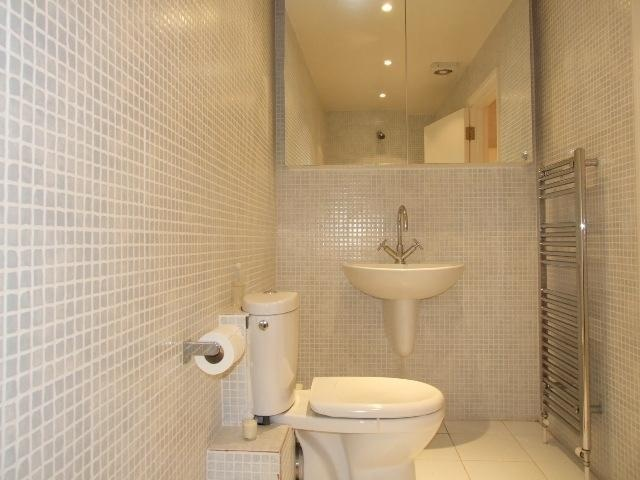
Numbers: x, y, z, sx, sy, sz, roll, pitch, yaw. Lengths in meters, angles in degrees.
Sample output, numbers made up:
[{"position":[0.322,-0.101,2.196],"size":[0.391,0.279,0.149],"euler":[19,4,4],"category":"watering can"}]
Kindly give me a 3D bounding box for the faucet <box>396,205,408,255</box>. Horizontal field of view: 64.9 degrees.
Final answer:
[{"position":[0.489,-0.067,3.003],"size":[0.076,0.240,0.086],"euler":[-3,-2,15],"category":"faucet"}]

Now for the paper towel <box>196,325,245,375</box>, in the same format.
[{"position":[-0.314,0.355,1.732],"size":[0.153,0.162,0.189],"euler":[-6,5,20],"category":"paper towel"}]
